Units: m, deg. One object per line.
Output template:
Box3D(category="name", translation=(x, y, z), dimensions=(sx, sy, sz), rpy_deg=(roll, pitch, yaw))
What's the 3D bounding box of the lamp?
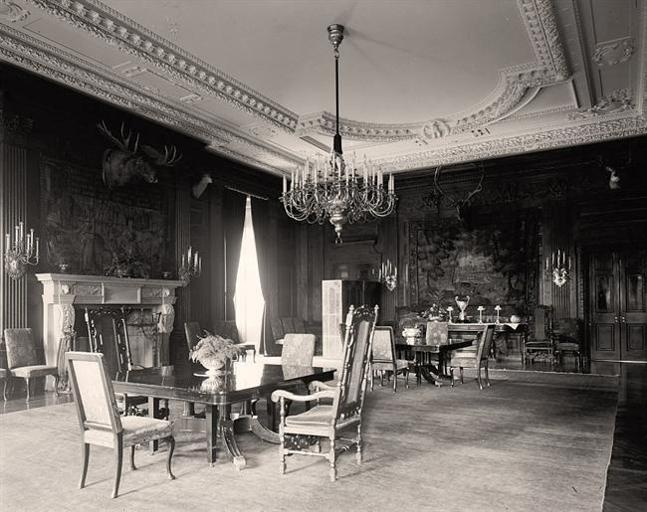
Box3D(category="lamp", translation=(0.236, -1.930, 8.821), dimensions=(1.558, 3.410, 1.561), rpy_deg=(6, -10, -35))
